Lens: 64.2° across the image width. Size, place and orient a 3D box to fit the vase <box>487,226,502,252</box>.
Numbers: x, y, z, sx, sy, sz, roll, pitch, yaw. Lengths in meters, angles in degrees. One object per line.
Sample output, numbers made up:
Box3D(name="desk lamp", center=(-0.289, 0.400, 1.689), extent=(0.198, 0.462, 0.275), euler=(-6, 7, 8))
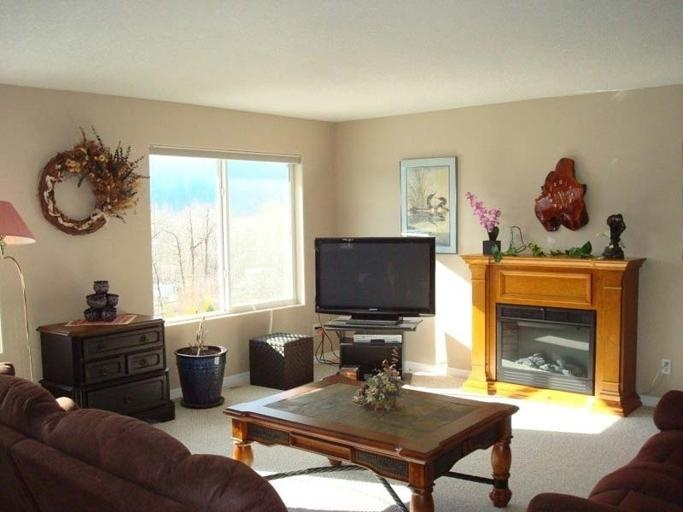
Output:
Box3D(name="vase", center=(1.569, -0.172, 5.529), extent=(0.119, 0.259, 0.444), euler=(1, 6, 16))

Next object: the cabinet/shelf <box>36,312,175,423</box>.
Box3D(name="cabinet/shelf", center=(-1.967, 0.820, 4.857), extent=(0.848, 1.111, 1.132), euler=(0, 1, 36))

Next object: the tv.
Box3D(name="tv", center=(0.334, 0.242, 5.684), extent=(1.265, 0.862, 0.117), euler=(1, 7, 17))

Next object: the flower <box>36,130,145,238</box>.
Box3D(name="flower", center=(-2.190, -0.602, 4.794), extent=(0.785, 0.889, 0.334), euler=(11, -3, -40))

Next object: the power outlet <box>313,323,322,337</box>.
Box3D(name="power outlet", center=(-0.300, 0.906, 6.660), extent=(0.176, 0.171, 0.023), euler=(-2, 3, -35))

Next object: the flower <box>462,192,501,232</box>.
Box3D(name="flower", center=(1.465, -0.453, 5.638), extent=(0.383, 0.422, 0.428), euler=(1, 7, 18))

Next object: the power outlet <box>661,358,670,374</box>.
Box3D(name="power outlet", center=(2.956, 1.011, 4.943), extent=(0.087, 0.117, 0.040), euler=(4, 7, 44))

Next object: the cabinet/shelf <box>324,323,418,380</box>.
Box3D(name="cabinet/shelf", center=(0.347, 0.912, 5.821), extent=(1.001, 0.686, 0.574), euler=(1, 5, 15))
